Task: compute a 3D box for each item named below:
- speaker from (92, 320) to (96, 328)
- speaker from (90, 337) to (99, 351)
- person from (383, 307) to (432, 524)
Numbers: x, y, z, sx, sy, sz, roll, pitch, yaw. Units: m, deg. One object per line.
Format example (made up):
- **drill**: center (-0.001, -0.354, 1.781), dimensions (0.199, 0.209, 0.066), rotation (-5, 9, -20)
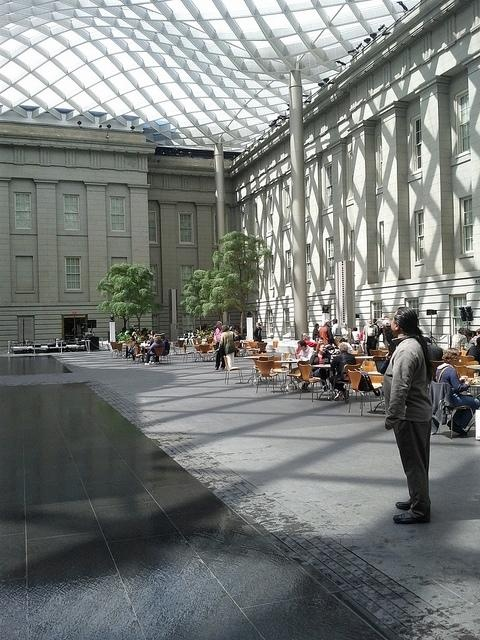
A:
- **speaker**: center (-11.485, 0.324, 44.269), dimensions (0.259, 0.505, 0.855), rotation (-3, 0, -3)
- **speaker**: center (-11.367, 1.823, 43.937), dimensions (0.695, 0.990, 0.836), rotation (-3, 0, -16)
- **person**: center (1.281, 0.773, 4.369), dimensions (0.301, 1.742, 0.515), rotation (-4, -1, 42)
